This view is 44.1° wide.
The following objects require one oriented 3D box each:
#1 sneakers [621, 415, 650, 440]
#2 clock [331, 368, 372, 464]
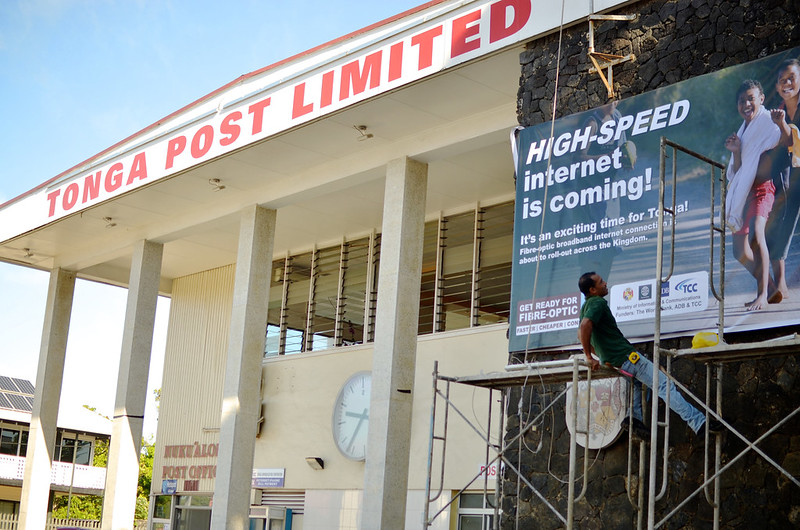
[{"bbox_3d":[3.214,2.192,13.393,0.462,0.216,0.151,32,-51,-16],"label":"sneakers"},{"bbox_3d":[-0.929,3.293,21.451,0.146,1.852,1.936,16,-21,-30],"label":"clock"}]
